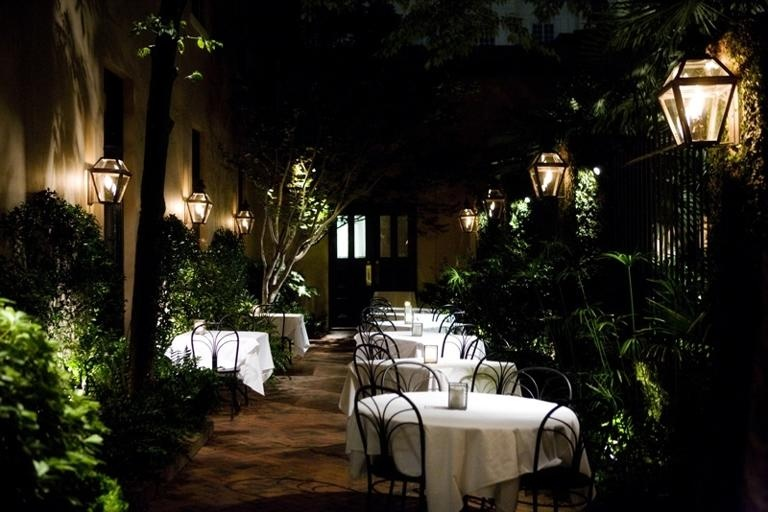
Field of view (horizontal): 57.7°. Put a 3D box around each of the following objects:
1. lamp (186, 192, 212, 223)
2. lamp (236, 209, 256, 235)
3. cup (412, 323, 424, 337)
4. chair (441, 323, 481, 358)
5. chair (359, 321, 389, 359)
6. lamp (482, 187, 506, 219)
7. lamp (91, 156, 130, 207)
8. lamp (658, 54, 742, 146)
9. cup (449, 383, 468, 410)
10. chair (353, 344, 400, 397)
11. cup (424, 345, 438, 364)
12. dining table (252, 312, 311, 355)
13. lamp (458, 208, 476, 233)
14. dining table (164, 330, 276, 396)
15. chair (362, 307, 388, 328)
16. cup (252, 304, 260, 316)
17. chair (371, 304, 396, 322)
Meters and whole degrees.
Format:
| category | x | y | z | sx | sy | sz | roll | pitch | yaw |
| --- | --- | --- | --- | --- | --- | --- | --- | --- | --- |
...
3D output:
| category | x | y | z | sx | sy | sz | roll | pitch | yaw |
| --- | --- | --- | --- | --- | --- | --- | --- | --- | --- |
| lamp | -3.555 | -0.947 | 13.687 | 0.514 | 0.783 | 0.518 | 1 | 3 | 6 |
| lamp | -3.379 | -0.823 | 17.003 | 0.489 | 0.831 | 0.548 | -2 | 0 | -4 |
| cup | 0.522 | 1.122 | 10.789 | 0.154 | 0.236 | 0.221 | -1 | -3 | 16 |
| chair | 1.154 | 1.290 | 10.511 | 0.516 | 0.595 | 0.569 | 0 | -8 | 3 |
| chair | -0.161 | 1.266 | 10.734 | 0.463 | 0.823 | 0.461 | -1 | -2 | 12 |
| lamp | 2.207 | -1.082 | 14.257 | 0.455 | 0.789 | 0.512 | -1 | 0 | 0 |
| lamp | -3.502 | -0.963 | 9.096 | 0.516 | 0.767 | 0.523 | 1 | 2 | 5 |
| lamp | 2.754 | -1.320 | 6.308 | 0.627 | 1.071 | 0.744 | -1 | 0 | 6 |
| cup | 0.692 | 1.310 | 6.589 | 0.185 | 0.249 | 0.197 | 0 | 0 | 0 |
| chair | -0.124 | 1.381 | 8.913 | 0.526 | 0.899 | 0.606 | 2 | -22 | -2 |
| cup | 0.570 | 1.203 | 8.591 | 0.174 | 0.281 | 0.188 | 0 | 1 | 0 |
| dining table | -1.948 | 1.519 | 14.533 | 0.859 | 0.540 | 0.942 | 2 | 3 | 3 |
| lamp | 2.066 | -0.874 | 17.155 | 0.422 | 0.709 | 0.502 | -1 | 0 | -4 |
| dining table | -2.423 | 1.517 | 10.097 | 0.953 | 0.575 | 1.059 | 5 | 6 | 1 |
| chair | -0.193 | 1.146 | 13.094 | 0.298 | 0.463 | 0.309 | 1 | -9 | -5 |
| cup | -2.709 | 1.133 | 14.767 | 0.179 | 0.258 | 0.210 | 2 | -5 | -25 |
| chair | 0.000 | 1.154 | 14.140 | 0.335 | 0.532 | 0.338 | 3 | -10 | -15 |
